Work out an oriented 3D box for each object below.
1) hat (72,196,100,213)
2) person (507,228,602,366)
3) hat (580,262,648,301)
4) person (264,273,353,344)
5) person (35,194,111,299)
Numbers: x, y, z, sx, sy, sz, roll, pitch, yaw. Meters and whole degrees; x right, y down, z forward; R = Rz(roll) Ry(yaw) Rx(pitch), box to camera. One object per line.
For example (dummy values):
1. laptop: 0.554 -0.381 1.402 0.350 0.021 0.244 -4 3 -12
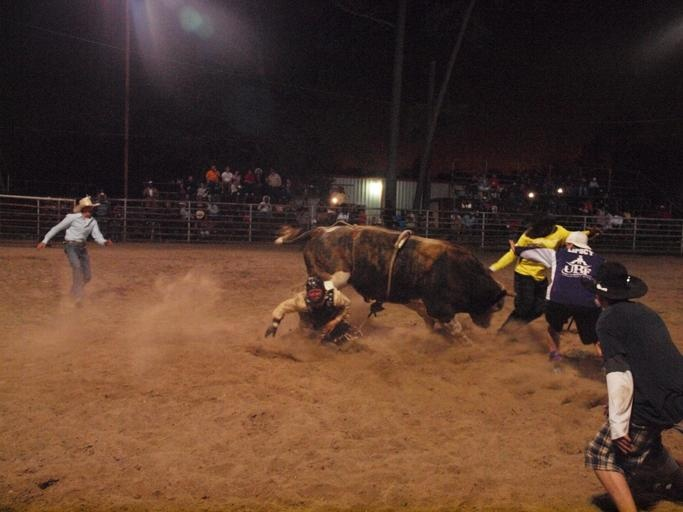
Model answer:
1. hat: -4.325 -0.873 10.042 0.327 0.260 0.908 -2 9 -24
2. person: 2.571 0.534 7.282 1.458 1.827 0.941 1 17 15
3. hat: 2.170 0.210 4.946 0.343 0.157 0.405 -12 14 -11
4. person: -0.302 0.682 7.563 0.593 0.902 1.188 7 10 35
5. person: -4.295 -0.139 9.836 0.679 1.653 0.553 9 11 43
